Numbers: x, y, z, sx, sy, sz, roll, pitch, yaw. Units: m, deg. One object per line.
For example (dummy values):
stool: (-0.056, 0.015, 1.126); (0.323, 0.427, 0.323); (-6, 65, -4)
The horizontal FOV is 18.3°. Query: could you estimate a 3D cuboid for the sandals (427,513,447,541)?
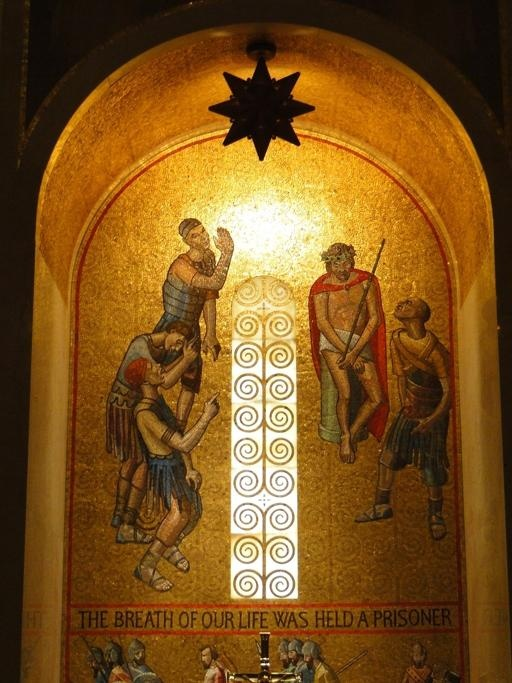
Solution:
sandals: (0.999, 1.013, 8.714); (0.092, 0.107, 0.102); (-8, 32, -5)
